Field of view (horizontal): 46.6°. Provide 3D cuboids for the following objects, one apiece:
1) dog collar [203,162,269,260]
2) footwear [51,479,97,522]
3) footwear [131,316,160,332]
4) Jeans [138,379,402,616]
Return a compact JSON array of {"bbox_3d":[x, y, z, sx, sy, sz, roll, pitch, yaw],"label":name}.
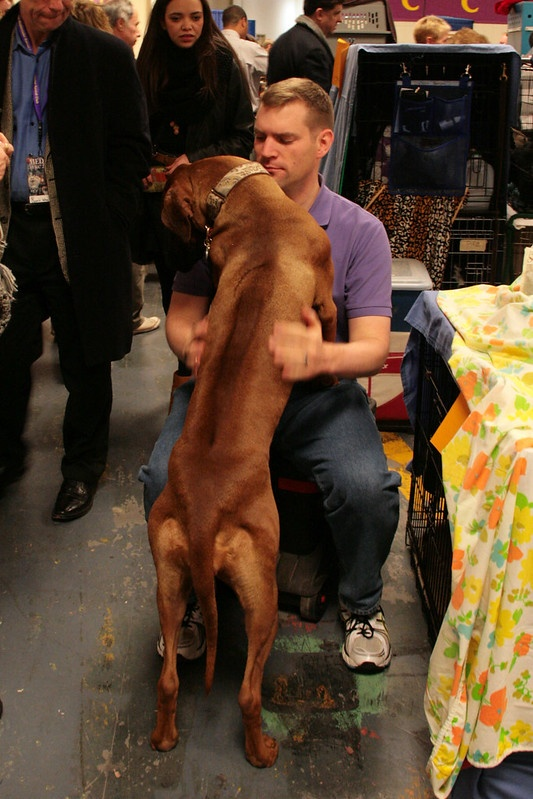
[{"bbox_3d":[-0.085,-0.438,1.463,0.145,0.212,0.074,7,2,4],"label":"dog collar"},{"bbox_3d":[-0.830,0.426,2.620,0.087,0.089,0.244,5,18,2],"label":"footwear"},{"bbox_3d":[-0.912,-0.593,4.756,0.254,0.112,0.091,-17,30,-30],"label":"footwear"},{"bbox_3d":[0.096,0.125,2.012,0.551,0.851,0.805,9,-7,7],"label":"Jeans"}]
